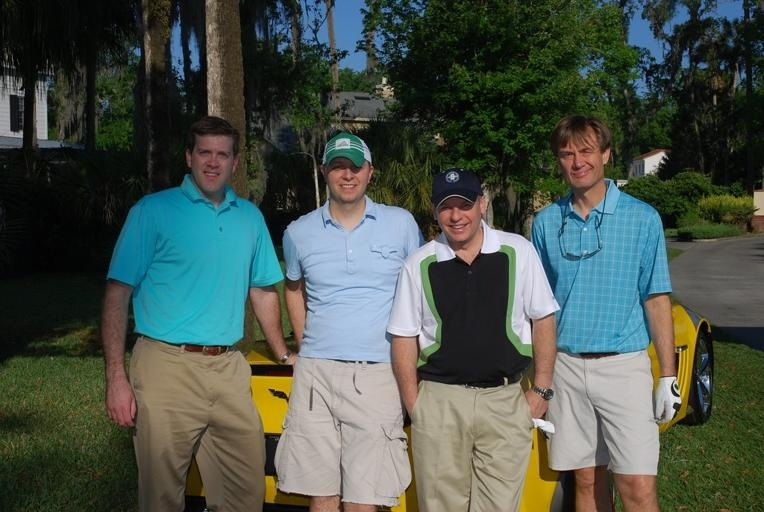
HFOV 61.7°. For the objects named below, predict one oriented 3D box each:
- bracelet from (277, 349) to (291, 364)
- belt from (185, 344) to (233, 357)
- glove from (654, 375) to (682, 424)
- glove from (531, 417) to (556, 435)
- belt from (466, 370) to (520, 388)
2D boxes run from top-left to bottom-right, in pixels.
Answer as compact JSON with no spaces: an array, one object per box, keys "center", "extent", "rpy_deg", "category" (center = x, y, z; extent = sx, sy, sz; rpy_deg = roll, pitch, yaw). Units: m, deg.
[{"center":[-0.810,0.843,5.346],"extent":[0.105,0.075,0.116],"rpy_deg":[-24,25,44],"category":"bracelet"},{"center":[-1.350,0.711,4.939],"extent":[0.347,0.105,0.040],"rpy_deg":[-3,6,-22],"category":"belt"},{"center":[2.231,1.115,4.994],"extent":[0.196,0.412,0.167],"rpy_deg":[1,6,14],"category":"glove"},{"center":[1.238,1.307,4.931],"extent":[0.073,0.185,0.064],"rpy_deg":[-44,9,20],"category":"glove"},{"center":[0.851,0.917,4.717],"extent":[0.187,0.066,0.191],"rpy_deg":[-7,-9,-43],"category":"belt"}]
